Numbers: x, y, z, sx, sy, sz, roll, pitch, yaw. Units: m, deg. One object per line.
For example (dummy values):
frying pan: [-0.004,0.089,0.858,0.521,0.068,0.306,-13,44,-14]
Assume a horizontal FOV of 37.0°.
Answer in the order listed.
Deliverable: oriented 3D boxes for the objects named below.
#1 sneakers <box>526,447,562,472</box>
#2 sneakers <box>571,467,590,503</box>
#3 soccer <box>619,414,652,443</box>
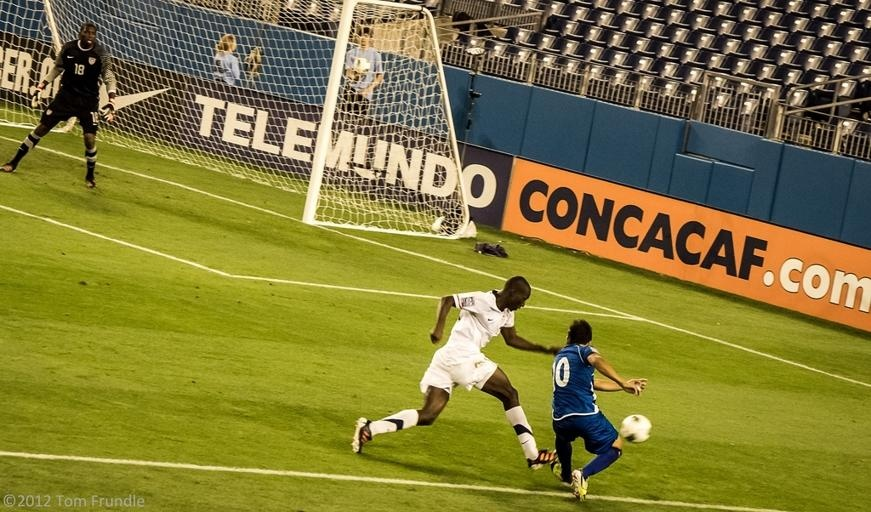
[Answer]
sneakers: [1.762,3.161,20.449,0.655,0.240,0.207,-16,27,2]
sneakers: [2.267,3.512,20.192,0.311,0.464,0.196,-13,9,10]
soccer: [3.170,2.683,20.568,0.546,0.427,0.496,2,-3,-39]
